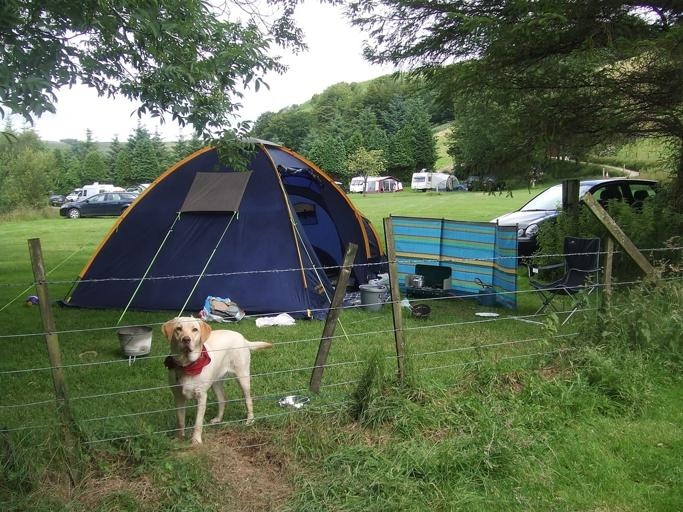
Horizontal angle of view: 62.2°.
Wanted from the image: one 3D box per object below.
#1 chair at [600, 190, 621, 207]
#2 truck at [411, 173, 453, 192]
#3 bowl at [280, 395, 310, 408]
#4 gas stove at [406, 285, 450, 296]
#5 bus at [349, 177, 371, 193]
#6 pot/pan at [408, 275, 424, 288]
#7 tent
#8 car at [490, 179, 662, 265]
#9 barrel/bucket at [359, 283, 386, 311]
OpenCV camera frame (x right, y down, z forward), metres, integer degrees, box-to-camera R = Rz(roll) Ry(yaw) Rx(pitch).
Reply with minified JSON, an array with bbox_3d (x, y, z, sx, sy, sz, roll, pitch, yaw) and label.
[{"bbox_3d":[6.241,-1.347,13.159,0.754,0.418,0.333,-5,8,-40],"label":"chair"},{"bbox_3d":[8.361,-6.658,50.776,3.735,1.581,1.371,3,7,22],"label":"truck"},{"bbox_3d":[-0.493,1.510,5.867,0.147,0.030,0.146,3,19,-1],"label":"bowl"},{"bbox_3d":[1.635,0.676,10.599,0.785,0.244,0.295,2,7,12],"label":"gas stove"},{"bbox_3d":[1.793,-6.874,54.176,1.373,1.178,2.231,2,4,29],"label":"bus"},{"bbox_3d":[1.409,0.475,10.575,0.235,0.222,0.241,0,4,22],"label":"pot/pan"},{"bbox_3d":[-1.887,-0.560,9.878,5.287,2.979,2.605,-2,7,-26],"label":"tent"},{"bbox_3d":[5.551,-0.882,13.486,4.217,1.755,2.235,-2,0,-14],"label":"car"},{"bbox_3d":[0.557,0.713,9.854,0.431,0.308,0.421,4,4,0],"label":"barrel/bucket"}]
